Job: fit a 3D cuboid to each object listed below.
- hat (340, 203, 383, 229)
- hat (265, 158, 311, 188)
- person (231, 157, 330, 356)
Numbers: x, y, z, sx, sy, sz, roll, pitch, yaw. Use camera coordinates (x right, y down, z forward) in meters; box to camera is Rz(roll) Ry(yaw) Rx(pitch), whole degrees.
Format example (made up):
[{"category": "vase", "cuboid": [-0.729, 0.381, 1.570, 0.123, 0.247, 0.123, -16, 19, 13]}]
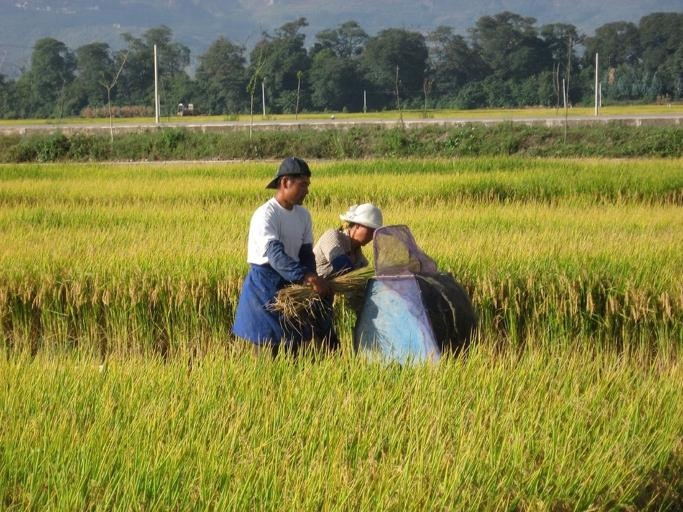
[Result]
[{"category": "hat", "cuboid": [0.195, -0.336, 7.491, 0.435, 0.193, 0.210, 9, 14, 35]}, {"category": "hat", "cuboid": [-0.406, -0.659, 7.288, 0.291, 0.204, 0.223, 0, 0, -1]}, {"category": "person", "cuboid": [-0.493, -0.009, 7.239, 0.735, 1.542, 0.492, -1, 11, -9]}]
